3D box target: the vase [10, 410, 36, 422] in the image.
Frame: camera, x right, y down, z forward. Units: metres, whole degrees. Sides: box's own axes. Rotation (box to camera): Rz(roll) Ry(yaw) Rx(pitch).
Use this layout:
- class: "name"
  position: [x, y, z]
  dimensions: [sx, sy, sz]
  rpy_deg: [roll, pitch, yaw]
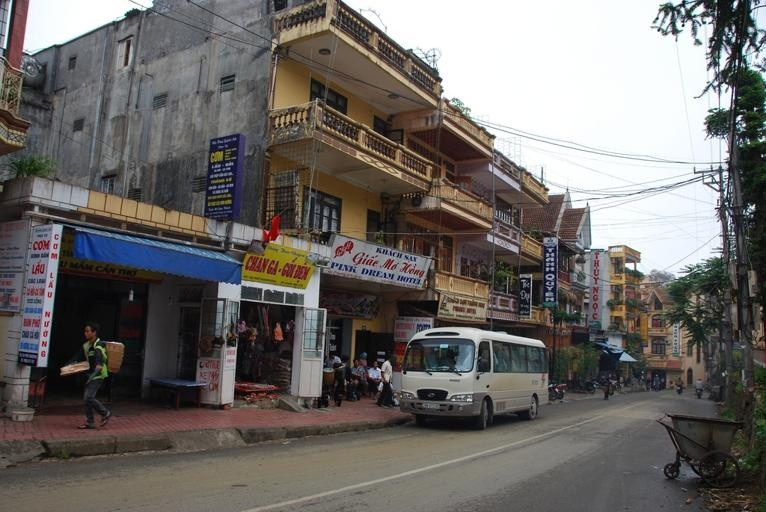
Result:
- class: "vase"
  position: [-9.491, 4.146, 17.868]
  dimensions: [0.367, 0.225, 0.357]
  rpy_deg: [5, -5, -40]

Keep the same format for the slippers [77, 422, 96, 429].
- class: "slippers"
  position: [-7.732, 4.402, 17.732]
  dimensions: [0.427, 0.168, 0.157]
  rpy_deg: [7, -6, -9]

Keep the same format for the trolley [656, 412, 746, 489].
- class: "trolley"
  position: [8.125, 4.975, 17.428]
  dimensions: [2.172, 1.634, 1.534]
  rpy_deg: [2, -12, 20]

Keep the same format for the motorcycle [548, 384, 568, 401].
- class: "motorcycle"
  position: [9.934, 7.744, 38.796]
  dimensions: [0.629, 1.026, 2.616]
  rpy_deg: [4, 0, 23]

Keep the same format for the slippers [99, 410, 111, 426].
- class: "slippers"
  position: [-7.394, 4.287, 18.023]
  dimensions: [0.166, 0.462, 0.215]
  rpy_deg: [-2, -18, 40]

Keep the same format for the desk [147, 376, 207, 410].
- class: "desk"
  position: [-6.591, 4.306, 21.651]
  dimensions: [1.997, 0.855, 1.058]
  rpy_deg: [4, 0, 38]
